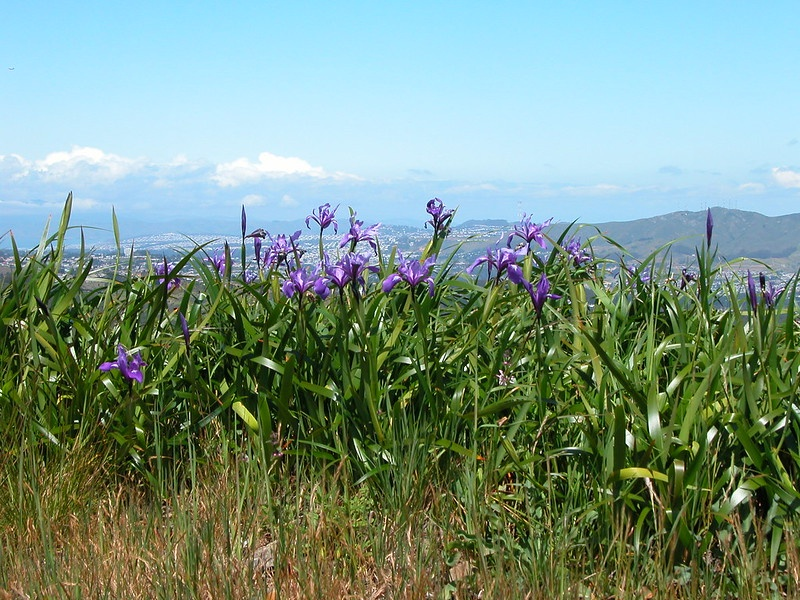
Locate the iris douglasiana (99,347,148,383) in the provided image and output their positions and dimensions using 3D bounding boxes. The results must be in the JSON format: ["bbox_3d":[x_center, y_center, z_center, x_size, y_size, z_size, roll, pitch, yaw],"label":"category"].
[{"bbox_3d":[-1.740,0.423,4.073,0.279,0.198,0.300,-6,-2,-16],"label":"iris douglasiana"}]
